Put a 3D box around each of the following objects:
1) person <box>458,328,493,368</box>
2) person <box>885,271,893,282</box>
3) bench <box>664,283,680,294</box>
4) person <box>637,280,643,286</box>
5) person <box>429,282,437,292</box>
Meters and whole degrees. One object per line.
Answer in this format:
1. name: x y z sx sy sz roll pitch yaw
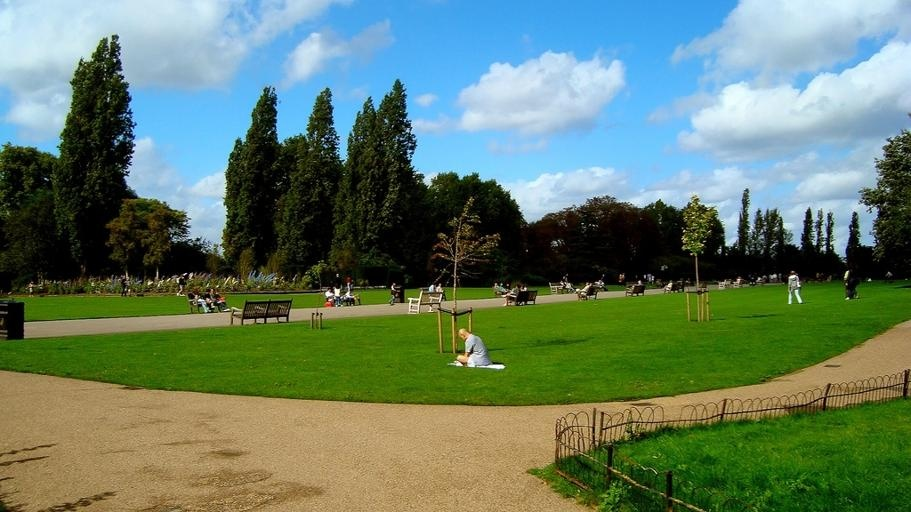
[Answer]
1. person: 0.785 3.852 29.006 1.464 1.265 1.017 9 17 36
2. person: 52.792 2.404 84.369 1.140 1.274 1.170 -2 -1 30
3. bench: 21.139 2.953 67.276 1.265 1.764 1.252 -1 -4 18
4. person: 22.939 3.164 85.935 0.626 0.395 0.770 7 1 33
5. person: -2.055 2.728 63.432 0.791 1.427 0.823 0 8 -1
